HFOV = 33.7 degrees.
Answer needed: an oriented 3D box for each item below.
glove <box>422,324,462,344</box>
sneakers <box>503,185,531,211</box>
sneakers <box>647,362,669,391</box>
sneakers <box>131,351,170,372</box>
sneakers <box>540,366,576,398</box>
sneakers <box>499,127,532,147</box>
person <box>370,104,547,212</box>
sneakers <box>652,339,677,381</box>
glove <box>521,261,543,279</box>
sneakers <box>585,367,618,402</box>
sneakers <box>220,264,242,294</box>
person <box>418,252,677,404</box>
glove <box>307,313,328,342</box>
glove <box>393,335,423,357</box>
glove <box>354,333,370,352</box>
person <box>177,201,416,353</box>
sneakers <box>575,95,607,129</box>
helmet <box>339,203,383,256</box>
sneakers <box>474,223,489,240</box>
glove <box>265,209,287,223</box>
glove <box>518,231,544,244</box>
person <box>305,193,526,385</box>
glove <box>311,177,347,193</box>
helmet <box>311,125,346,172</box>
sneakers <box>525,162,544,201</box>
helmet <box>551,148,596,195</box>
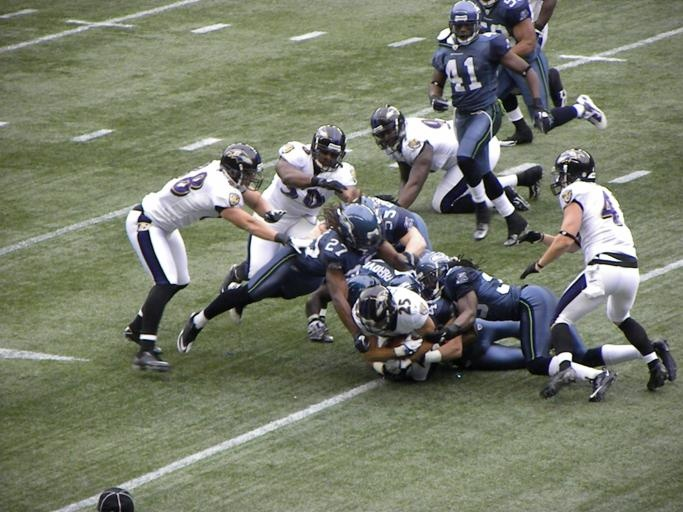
[{"bbox_3d":[0.912,0.707,10.162,0.260,0.097,0.158,-22,3,40],"label":"glove"},{"bbox_3d":[1.955,-0.650,12.823,0.178,0.425,0.144,-41,21,27],"label":"sneakers"},{"bbox_3d":[2.769,1.059,10.086,0.161,0.282,0.142,-18,48,-14],"label":"sneakers"},{"bbox_3d":[-1.778,0.989,10.740,0.421,0.158,0.149,4,15,14],"label":"sneakers"},{"bbox_3d":[1.909,1.117,10.066,0.329,0.145,0.201,-44,30,10],"label":"sneakers"},{"bbox_3d":[2.234,-1.509,14.236,0.530,0.205,0.160,-1,45,10],"label":"sneakers"},{"bbox_3d":[1.240,-1.051,12.812,2.164,1.079,0.830,-4,20,-14],"label":"person"},{"bbox_3d":[2.889,0.909,10.128,0.181,0.388,0.170,-23,1,-10],"label":"sneakers"},{"bbox_3d":[1.851,0.137,10.998,0.198,0.087,0.069,-44,12,12],"label":"glove"},{"bbox_3d":[2.293,1.131,10.019,0.200,0.364,0.129,18,60,1],"label":"sneakers"},{"bbox_3d":[-1.105,0.221,11.645,0.169,0.339,0.133,28,4,11],"label":"sneakers"},{"bbox_3d":[1.817,0.608,10.535,2.846,0.947,1.006,10,3,8],"label":"person"},{"bbox_3d":[-0.225,0.700,10.980,0.234,0.254,0.290,-1,-5,-8],"label":"glove"},{"bbox_3d":[0.608,0.815,10.209,0.256,0.133,0.093,-19,-11,23],"label":"glove"},{"bbox_3d":[0.192,0.778,10.235,0.138,0.142,0.161,-10,-10,0],"label":"glove"},{"bbox_3d":[-0.410,0.188,11.176,2.703,1.076,1.494,-15,14,46],"label":"person"},{"bbox_3d":[2.945,-1.681,13.379,0.314,0.461,0.212,-16,28,-9],"label":"sneakers"},{"bbox_3d":[0.184,-0.255,10.565,0.334,0.480,0.372,-55,15,-14],"label":"helmet"},{"bbox_3d":[1.545,-0.294,12.438,0.100,0.112,0.256,6,53,34],"label":"sneakers"},{"bbox_3d":[-0.621,-0.388,10.868,0.132,0.078,0.179,-2,-8,-43],"label":"glove"},{"bbox_3d":[1.764,-0.183,10.569,0.154,0.053,0.146,5,11,32],"label":"glove"},{"bbox_3d":[0.578,0.291,10.647,1.545,0.590,2.070,-23,36,-16],"label":"person"},{"bbox_3d":[-0.060,-0.708,11.092,0.482,0.115,0.130,15,47,42],"label":"glove"},{"bbox_3d":[-0.092,-1.104,11.412,0.402,0.402,0.450,7,23,-10],"label":"helmet"},{"bbox_3d":[2.146,-0.853,13.015,0.236,0.437,0.171,-3,21,-39],"label":"sneakers"},{"bbox_3d":[2.188,-0.800,10.631,0.491,0.365,0.343,-4,9,5],"label":"helmet"}]
